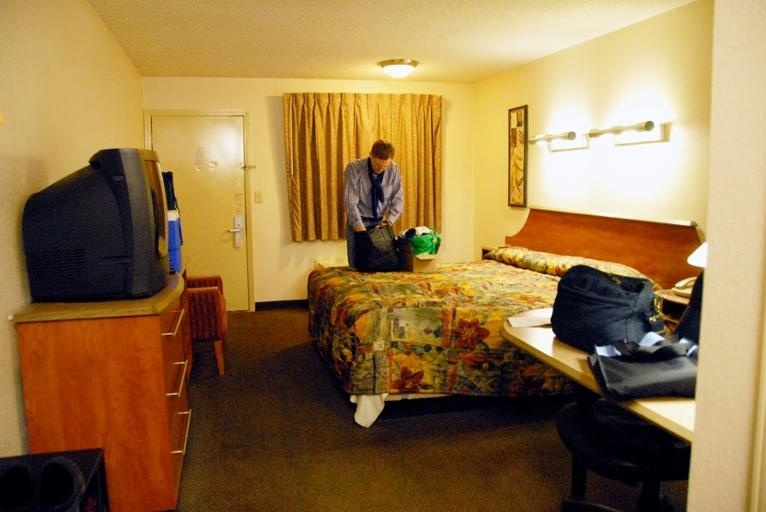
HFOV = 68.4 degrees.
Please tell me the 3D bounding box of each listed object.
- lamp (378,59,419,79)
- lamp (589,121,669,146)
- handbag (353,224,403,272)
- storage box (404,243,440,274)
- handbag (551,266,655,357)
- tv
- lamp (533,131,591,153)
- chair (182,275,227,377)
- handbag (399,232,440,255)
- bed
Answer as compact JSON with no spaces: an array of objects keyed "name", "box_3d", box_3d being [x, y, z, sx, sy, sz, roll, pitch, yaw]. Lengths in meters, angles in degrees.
[{"name":"lamp","box_3d":[0.163,-1.896,5.661,0.394,0.148,0.292,-1,14,0]},{"name":"lamp","box_3d":[1.950,-0.987,4.536,0.172,0.204,0.773,-6,15,-18]},{"name":"handbag","box_3d":[-0.036,-0.064,4.998,0.382,0.416,0.215,-3,-8,-12]},{"name":"storage box","box_3d":[0.348,-0.048,4.906,0.209,0.270,0.399,-1,8,-17]},{"name":"handbag","box_3d":[1.098,0.230,2.767,0.415,0.309,0.431,-13,15,-28]},{"name":"tv","box_3d":[-1.443,-0.169,3.097,0.695,0.772,0.769,-1,5,-7]},{"name":"lamp","box_3d":[1.638,-1.072,5.298,0.193,0.216,0.770,-5,15,-16]},{"name":"chair","box_3d":[-1.400,0.554,4.432,0.307,0.468,0.743,-3,12,-17]},{"name":"handbag","box_3d":[0.355,-0.107,4.879,0.193,0.102,0.254,10,12,41]},{"name":"bed","box_3d":[0.726,0.401,4.165,1.863,0.839,1.991,-1,9,-15]}]
